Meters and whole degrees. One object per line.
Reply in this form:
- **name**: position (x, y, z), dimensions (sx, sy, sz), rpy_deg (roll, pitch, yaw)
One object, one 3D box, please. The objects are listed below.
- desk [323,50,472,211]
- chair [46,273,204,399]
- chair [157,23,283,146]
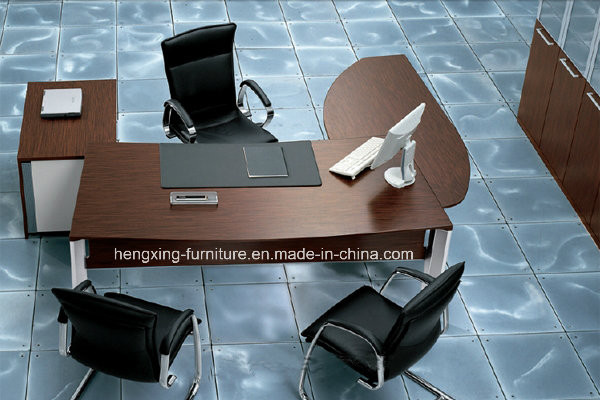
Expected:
- **desk**: position (0.883, -0.522, 4.369), dimensions (1.421, 0.436, 1.828), rpy_deg (-2, 51, -7)
- **chair**: position (-1.133, 0.918, 2.943), dimensions (0.635, 0.739, 0.545), rpy_deg (15, 49, 7)
- **chair**: position (-0.663, -0.840, 4.590), dimensions (1.099, 1.071, 1.447), rpy_deg (-2, 89, 45)
